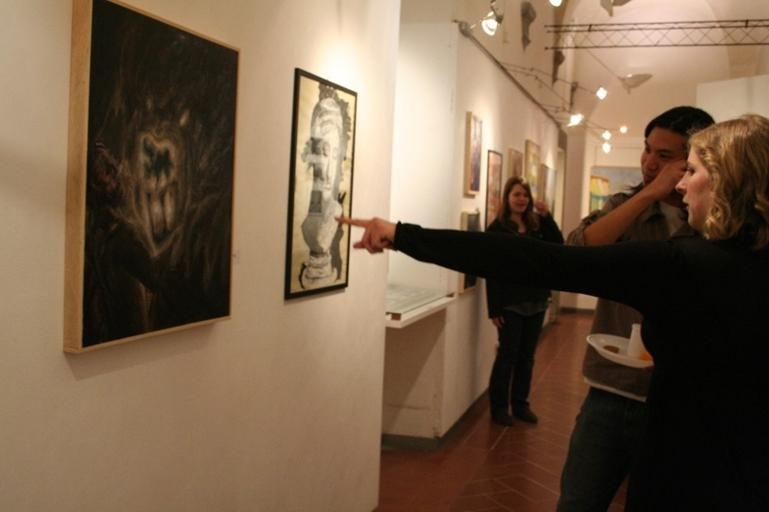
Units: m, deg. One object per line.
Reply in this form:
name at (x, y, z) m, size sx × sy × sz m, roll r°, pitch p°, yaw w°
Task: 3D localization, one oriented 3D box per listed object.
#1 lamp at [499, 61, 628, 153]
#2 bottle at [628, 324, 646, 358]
lamp at (3.056, -2.605, 9.809) m, size 1.329 × 0.426 × 3.458 m, roll 8°, pitch -15°, yaw 44°
bottle at (1.067, 0.366, 2.513) m, size 0.090 × 0.139 × 0.090 m, roll 8°, pitch 3°, yaw 0°
